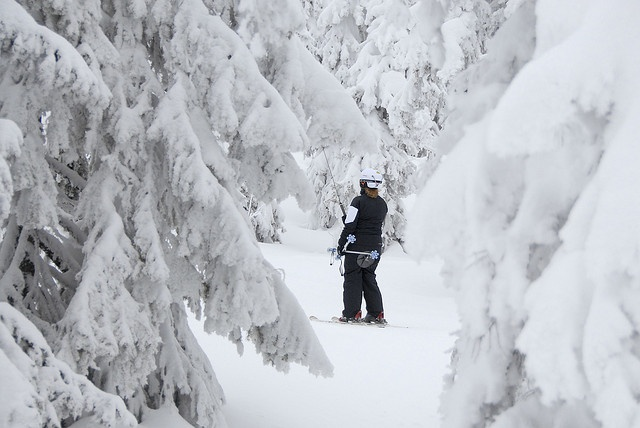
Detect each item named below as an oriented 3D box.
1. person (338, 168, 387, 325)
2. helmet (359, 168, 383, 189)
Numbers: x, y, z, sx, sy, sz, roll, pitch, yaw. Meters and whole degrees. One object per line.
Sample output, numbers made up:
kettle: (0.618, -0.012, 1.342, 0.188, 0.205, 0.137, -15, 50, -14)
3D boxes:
person: (0.547, 0.389, 9.819, 0.654, 1.878, 0.530, 4, -7, 2)
helmet: (0.638, -0.447, 9.809, 0.252, 0.276, 0.320, 5, -8, -1)
